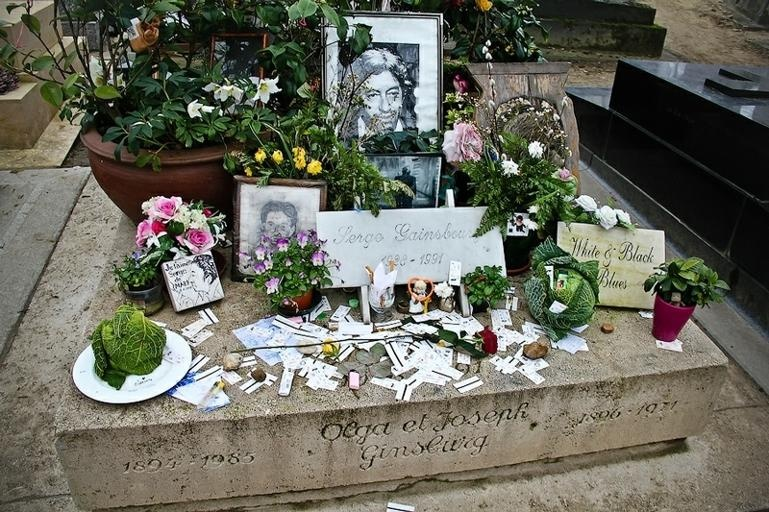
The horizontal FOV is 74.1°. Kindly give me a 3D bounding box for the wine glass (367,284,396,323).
[{"bbox_3d":[-0.016,0.270,3.018,0.155,0.185,0.171,-2,40,-1],"label":"wine glass"}]

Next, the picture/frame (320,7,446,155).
[{"bbox_3d":[-0.039,-1.204,3.472,1.046,1.211,0.082,-2,6,-4],"label":"picture/frame"}]

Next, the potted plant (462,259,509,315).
[{"bbox_3d":[0.623,0.187,3.095,0.300,0.244,0.248,4,40,5],"label":"potted plant"}]

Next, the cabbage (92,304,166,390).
[{"bbox_3d":[-1.345,0.456,2.639,0.296,0.286,0.339,19,44,22],"label":"cabbage"}]

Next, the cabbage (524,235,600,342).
[{"bbox_3d":[1.006,0.206,3.012,0.491,0.246,0.497,29,80,6],"label":"cabbage"}]

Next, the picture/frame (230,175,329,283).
[{"bbox_3d":[-0.605,-0.176,3.021,0.618,0.607,0.047,-1,6,2],"label":"picture/frame"}]

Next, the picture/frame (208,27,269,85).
[{"bbox_3d":[-0.973,-1.337,3.407,0.511,0.462,0.087,1,8,1],"label":"picture/frame"}]

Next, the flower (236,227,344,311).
[{"bbox_3d":[-0.538,0.048,2.923,0.459,0.337,0.472,-18,50,-17],"label":"flower"}]

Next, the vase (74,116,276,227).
[{"bbox_3d":[-1.408,-0.504,3.242,0.670,0.388,0.699,5,24,5],"label":"vase"}]

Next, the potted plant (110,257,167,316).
[{"bbox_3d":[-1.421,0.205,2.965,0.221,0.282,0.251,-6,-5,-42],"label":"potted plant"}]

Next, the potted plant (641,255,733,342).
[{"bbox_3d":[1.716,0.256,3.008,0.427,0.457,0.398,17,5,18],"label":"potted plant"}]

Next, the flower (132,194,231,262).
[{"bbox_3d":[-1.216,-0.158,2.993,0.457,0.338,0.488,23,-9,-8],"label":"flower"}]
